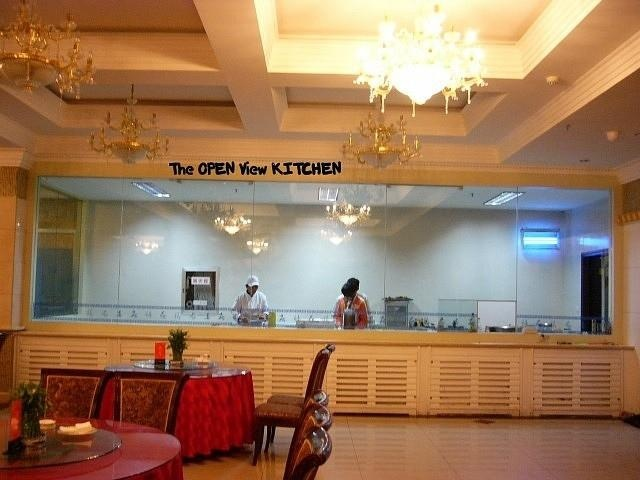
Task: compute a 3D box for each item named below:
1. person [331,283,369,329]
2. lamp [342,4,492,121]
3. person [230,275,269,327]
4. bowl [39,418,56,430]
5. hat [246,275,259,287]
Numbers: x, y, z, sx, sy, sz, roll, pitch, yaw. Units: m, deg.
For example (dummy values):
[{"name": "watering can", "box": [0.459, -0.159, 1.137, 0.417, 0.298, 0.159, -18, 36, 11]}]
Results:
[{"name": "person", "box": [0.443, 1.058, 8.317, 0.539, 1.152, 0.367, -1, -14, 1]}, {"name": "lamp", "box": [0.937, -1.562, 5.029, 1.195, 0.873, 1.266, 0, 3, 8]}, {"name": "person", "box": [-1.095, 0.960, 8.337, 0.666, 1.097, 0.592, 1, -10, -7]}, {"name": "bowl", "box": [-1.913, 1.270, 3.722, 0.079, 0.041, 0.110, 3, -3, -6]}, {"name": "hat", "box": [-1.063, 0.646, 8.345, 0.161, 0.164, 0.261, 4, 1, -2]}]
